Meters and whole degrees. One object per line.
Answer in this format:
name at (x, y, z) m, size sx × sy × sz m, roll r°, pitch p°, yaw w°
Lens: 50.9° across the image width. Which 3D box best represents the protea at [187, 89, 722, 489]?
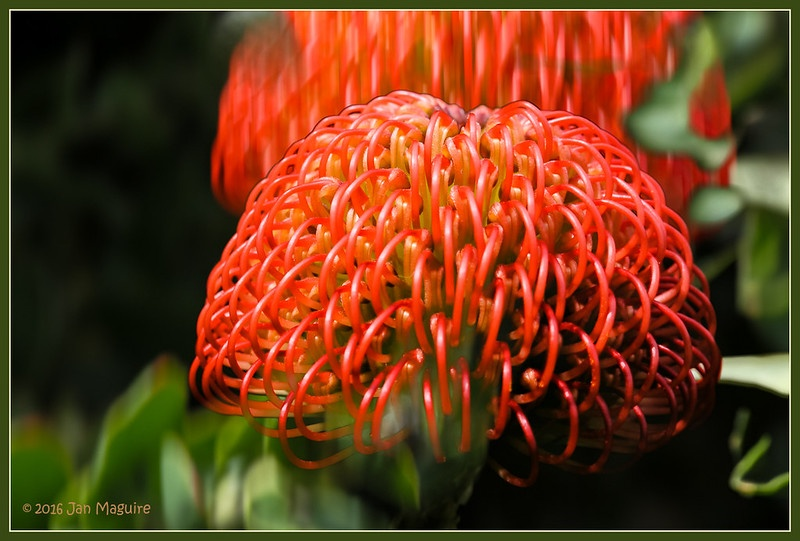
protea at (0.072, 0.041, 1.153) m, size 0.573 × 0.394 × 0.600 m, roll 0°, pitch 1°, yaw -10°
